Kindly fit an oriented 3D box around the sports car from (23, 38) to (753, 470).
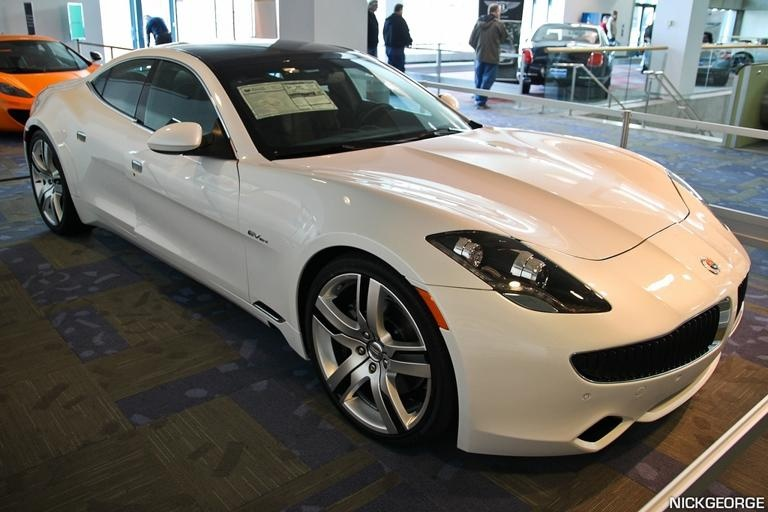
[{"bbox_3d":[-0.582,-0.370,3.295,4.836,1.312,2.180,18,28,36],"label":"sports car"}]
